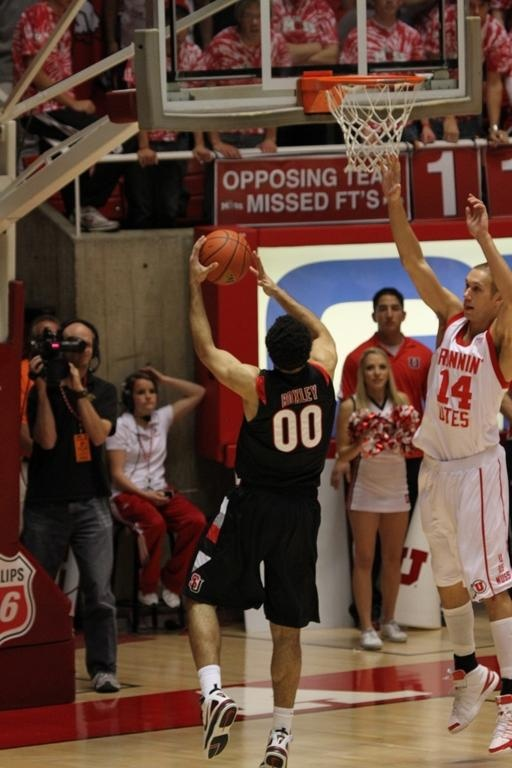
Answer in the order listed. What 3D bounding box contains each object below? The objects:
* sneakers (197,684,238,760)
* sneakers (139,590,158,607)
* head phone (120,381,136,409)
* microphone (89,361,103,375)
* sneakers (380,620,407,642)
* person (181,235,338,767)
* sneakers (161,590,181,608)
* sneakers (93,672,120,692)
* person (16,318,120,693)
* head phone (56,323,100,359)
[{"bbox_3d":[-0.105,0.991,2.373,0.078,0.221,0.110,-8,31,-38],"label":"sneakers"},{"bbox_3d":[-0.690,1.419,5.415,0.124,0.080,0.069,-2,0,39],"label":"sneakers"},{"bbox_3d":[-0.863,0.081,5.630,0.131,0.171,0.059,-12,22,-35],"label":"head phone"},{"bbox_3d":[-1.060,-0.108,5.449,0.084,0.108,0.043,7,-8,45],"label":"microphone"},{"bbox_3d":[0.872,1.576,5.250,0.078,0.088,0.205,-2,4,-30],"label":"sneakers"},{"bbox_3d":[0.019,0.315,2.761,0.512,1.866,0.782,-1,-9,5],"label":"person"},{"bbox_3d":[-0.588,1.448,5.522,0.091,0.097,0.148,5,-5,-36],"label":"sneakers"},{"bbox_3d":[-0.711,1.418,3.897,0.124,0.083,0.112,1,-9,-11],"label":"sneakers"},{"bbox_3d":[-0.870,0.550,3.940,0.472,1.808,0.651,2,-9,-14],"label":"person"},{"bbox_3d":[-0.862,-0.205,3.973,0.230,0.227,0.086,-1,3,-19],"label":"head phone"}]
